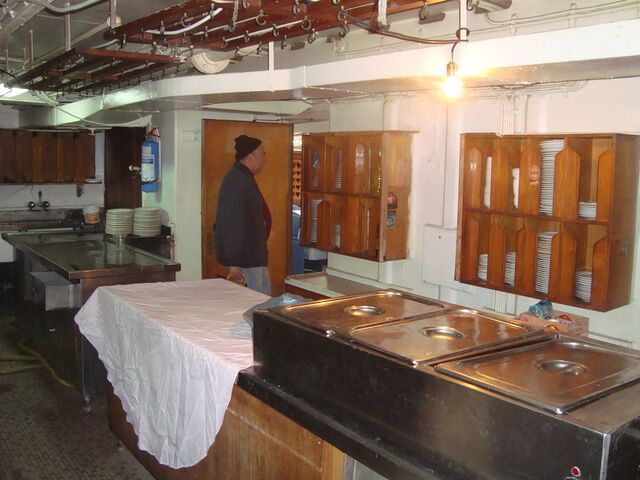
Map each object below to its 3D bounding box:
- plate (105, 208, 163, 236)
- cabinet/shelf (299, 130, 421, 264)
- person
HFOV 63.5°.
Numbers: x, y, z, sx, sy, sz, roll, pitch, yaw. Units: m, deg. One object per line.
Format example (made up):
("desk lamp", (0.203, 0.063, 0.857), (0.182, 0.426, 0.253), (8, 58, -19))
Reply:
("plate", (-2.256, -0.237, 6.223), (0.558, 0.232, 0.365), (1, 5, 5))
("cabinet/shelf", (0.418, -0.433, 4.839), (0.475, 1.230, 1.318), (-5, 6, -44))
("person", (-0.718, -0.208, 4.887), (0.341, 1.507, 0.630), (4, 15, 40))
